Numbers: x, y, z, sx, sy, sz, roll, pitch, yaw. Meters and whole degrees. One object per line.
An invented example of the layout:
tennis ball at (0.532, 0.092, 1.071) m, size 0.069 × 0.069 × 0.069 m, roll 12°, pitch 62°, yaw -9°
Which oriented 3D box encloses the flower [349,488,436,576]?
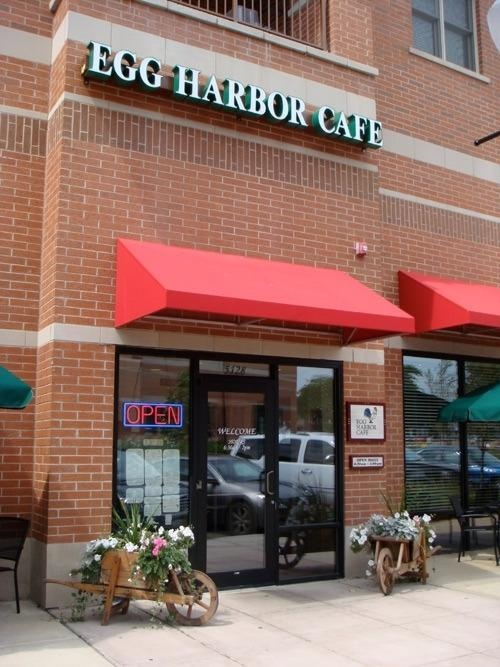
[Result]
flower at (1.650, 2.475, 8.447) m, size 0.904 × 0.536 × 1.165 m, roll 4°, pitch -9°, yaw -8°

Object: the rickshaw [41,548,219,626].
rickshaw at (-1.006, 2.347, 6.247) m, size 1.365 × 0.671 × 0.788 m, roll 2°, pitch -10°, yaw -7°

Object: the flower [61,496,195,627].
flower at (-1.172, 2.168, 6.397) m, size 1.290 × 0.900 × 0.906 m, roll 0°, pitch -6°, yaw 3°
